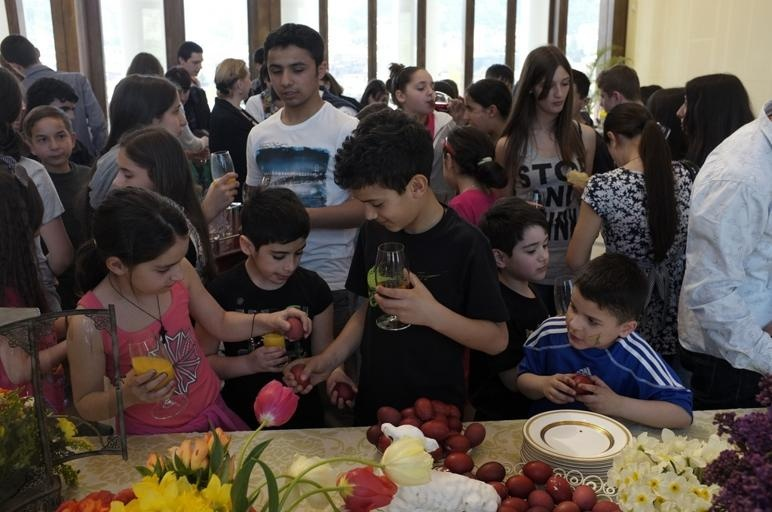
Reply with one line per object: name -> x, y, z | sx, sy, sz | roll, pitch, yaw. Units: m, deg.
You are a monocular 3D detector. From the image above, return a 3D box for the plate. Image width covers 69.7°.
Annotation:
plate -> 0.564, 0.559, 1.646 | 0.235, 0.103, 0.240 | -6, 24, -11

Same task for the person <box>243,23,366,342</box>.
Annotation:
person -> -0.418, -0.407, 2.872 | 0.691, 1.515, 0.483 | 12, 19, 41

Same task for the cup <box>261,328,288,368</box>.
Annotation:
cup -> -0.428, 0.353, 2.138 | 0.116, 0.177, 0.105 | 0, 3, -24

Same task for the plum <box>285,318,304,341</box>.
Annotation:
plum -> -0.360, 0.286, 2.163 | 0.063, 0.084, 0.064 | 0, -2, -11

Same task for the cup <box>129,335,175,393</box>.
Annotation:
cup -> -0.759, 0.351, 1.781 | 0.102, 0.180, 0.176 | -19, -13, -4

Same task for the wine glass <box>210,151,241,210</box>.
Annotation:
wine glass -> -0.860, -0.477, 2.934 | 0.127, 0.141, 0.353 | -5, 15, -16

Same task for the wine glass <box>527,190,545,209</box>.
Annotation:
wine glass -> 0.813, -0.303, 2.996 | 0.084, 0.093, 0.158 | -1, 8, 10

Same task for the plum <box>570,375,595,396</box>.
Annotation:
plum -> 0.665, 0.436, 1.880 | 0.060, 0.057, 0.059 | -5, 6, -31

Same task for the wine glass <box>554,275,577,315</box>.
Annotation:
wine glass -> 0.738, 0.182, 2.312 | 0.069, 0.161, 0.217 | 4, 15, 18
